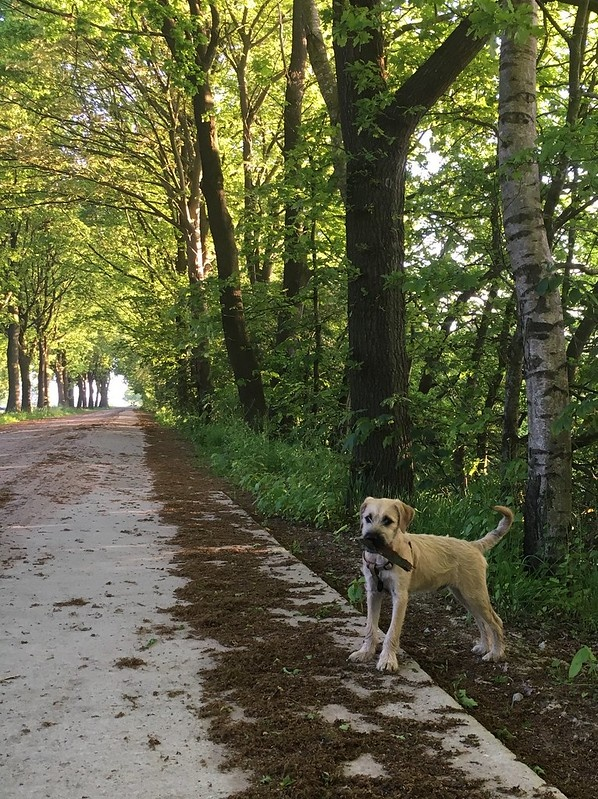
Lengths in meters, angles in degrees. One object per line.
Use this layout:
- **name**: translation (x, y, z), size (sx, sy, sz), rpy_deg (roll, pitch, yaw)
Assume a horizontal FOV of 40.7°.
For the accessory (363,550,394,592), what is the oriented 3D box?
- **accessory**: translation (0.446, 0.973, 4.559), size (0.176, 0.207, 0.115), rpy_deg (-3, -5, -3)
